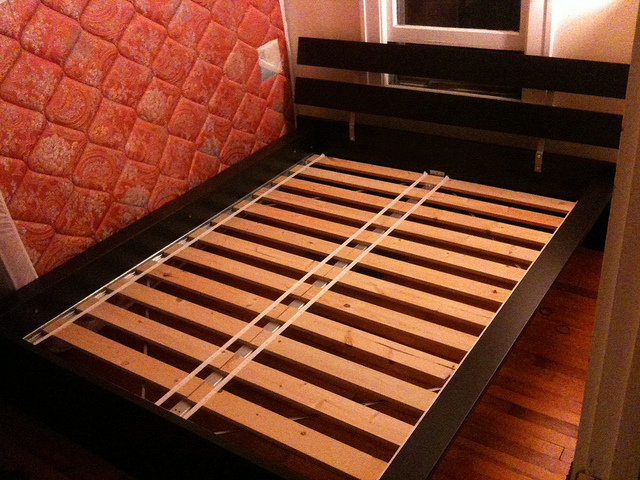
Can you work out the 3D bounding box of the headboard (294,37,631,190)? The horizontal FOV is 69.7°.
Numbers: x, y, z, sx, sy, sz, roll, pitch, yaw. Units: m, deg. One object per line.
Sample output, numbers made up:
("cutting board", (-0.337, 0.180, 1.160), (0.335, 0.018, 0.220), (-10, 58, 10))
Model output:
("headboard", (0.896, -0.779, 2.803), (1.480, 0.035, 0.466), (13, -56, 25))
